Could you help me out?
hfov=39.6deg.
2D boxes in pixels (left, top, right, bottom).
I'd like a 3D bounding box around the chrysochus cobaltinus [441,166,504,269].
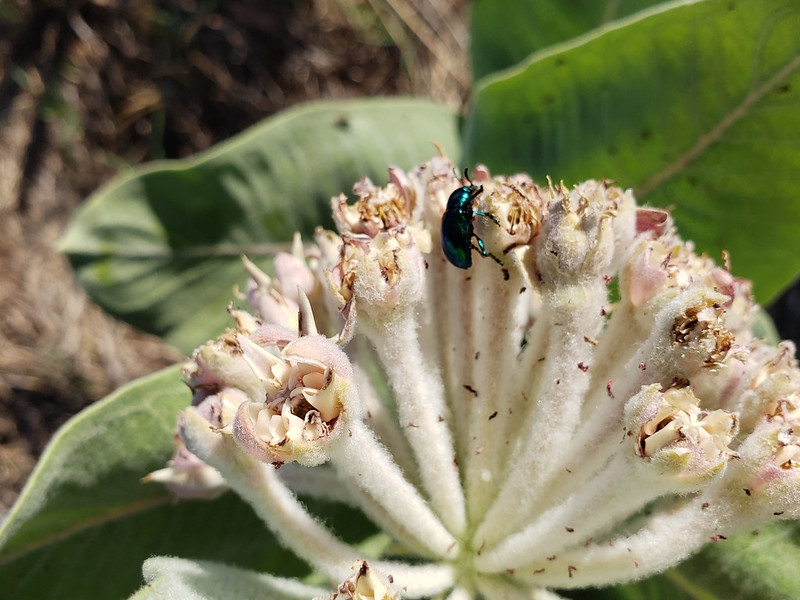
[{"bbox_3d":[0.230,-0.244,3.719,0.202,0.218,0.281,-15,63,3],"label":"chrysochus cobaltinus"}]
